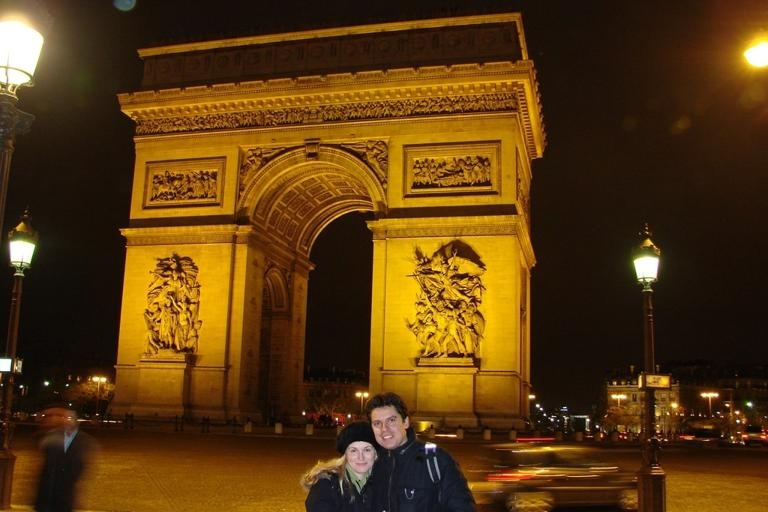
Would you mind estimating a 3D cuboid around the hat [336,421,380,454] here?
[{"bbox_3d":[-0.335,2.236,9.434,0.380,0.269,0.449,0,-22,-2],"label":"hat"}]
